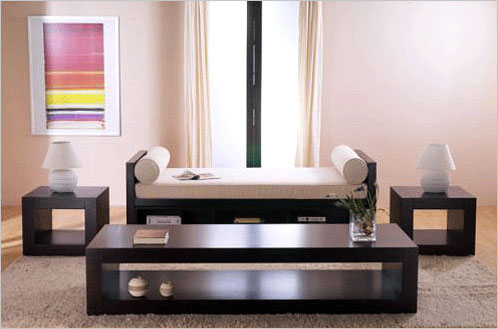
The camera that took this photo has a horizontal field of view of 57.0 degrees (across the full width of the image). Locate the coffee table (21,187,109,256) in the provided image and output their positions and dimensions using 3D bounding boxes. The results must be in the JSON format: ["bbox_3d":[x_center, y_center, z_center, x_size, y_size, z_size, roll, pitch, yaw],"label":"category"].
[{"bbox_3d":[-1.931,0.568,4.933,0.760,0.568,0.783,0,1,0],"label":"coffee table"}]

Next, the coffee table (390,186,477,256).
[{"bbox_3d":[1.977,0.525,5.019,0.757,0.565,0.772,0,7,1],"label":"coffee table"}]

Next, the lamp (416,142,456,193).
[{"bbox_3d":[2.074,0.051,5.060,0.447,0.495,0.425,2,0,-4],"label":"lamp"}]

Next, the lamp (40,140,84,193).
[{"bbox_3d":[-2.005,0.031,4.905,0.363,0.527,0.213,-9,16,-24],"label":"lamp"}]

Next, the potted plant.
[{"bbox_3d":[0.976,0.487,4.132,0.455,0.497,0.443,17,-33,-26],"label":"potted plant"}]
